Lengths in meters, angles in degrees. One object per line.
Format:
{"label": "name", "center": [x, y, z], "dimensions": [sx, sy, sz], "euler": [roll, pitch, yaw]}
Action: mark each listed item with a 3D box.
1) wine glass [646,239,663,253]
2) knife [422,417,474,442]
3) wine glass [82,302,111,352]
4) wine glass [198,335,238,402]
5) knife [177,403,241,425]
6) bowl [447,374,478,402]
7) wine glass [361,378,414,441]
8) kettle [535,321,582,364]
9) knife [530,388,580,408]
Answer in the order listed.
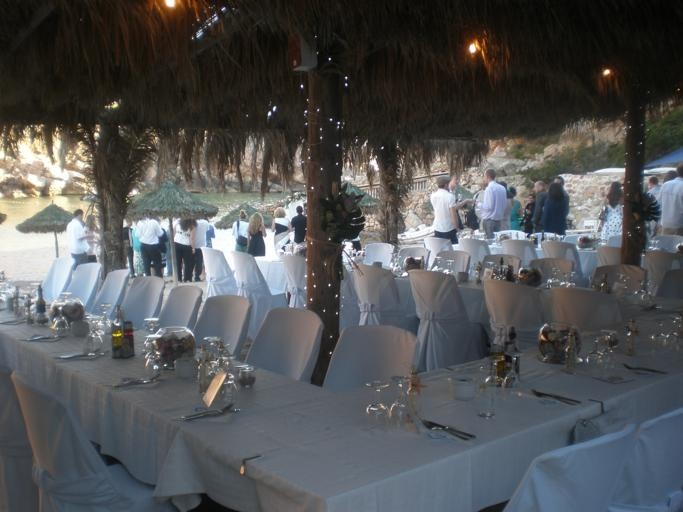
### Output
{"label": "wine glass", "center": [4.501, -0.159, 9.196], "dimensions": [0.192, 0.217, 0.194], "euler": [-16, -32, 42]}
{"label": "knife", "center": [0.506, 0.837, 3.112], "dimensions": [0.324, 0.060, 0.089], "euler": [9, 11, 40]}
{"label": "wine glass", "center": [-1.793, 0.521, 4.694], "dimensions": [0.163, 0.454, 0.214], "euler": [7, 3, 3]}
{"label": "wine glass", "center": [-0.686, 0.602, 3.569], "dimensions": [0.174, 0.428, 0.189], "euler": [-2, 5, -40]}
{"label": "knife", "center": [-0.683, 0.799, 3.302], "dimensions": [0.296, 0.071, 0.115], "euler": [-10, 28, -11]}
{"label": "bowl", "center": [0.654, 0.708, 3.447], "dimensions": [0.088, 0.095, 0.123], "euler": [0, -3, -10]}
{"label": "wine glass", "center": [0.244, 0.740, 3.185], "dimensions": [0.194, 0.289, 0.167], "euler": [5, 9, 41]}
{"label": "kettle", "center": [1.332, 0.517, 3.942], "dimensions": [0.197, 0.235, 0.226], "euler": [1, 2, -3]}
{"label": "knife", "center": [1.139, 0.750, 3.445], "dimensions": [0.288, 0.027, 0.079], "euler": [3, 20, 46]}
